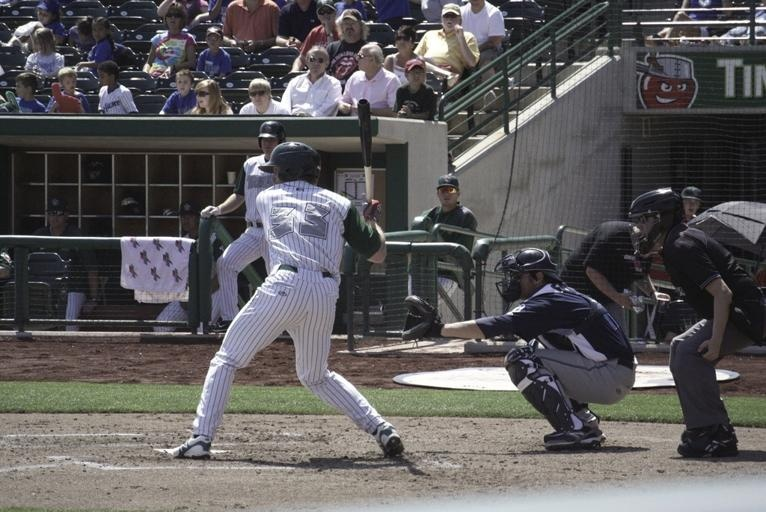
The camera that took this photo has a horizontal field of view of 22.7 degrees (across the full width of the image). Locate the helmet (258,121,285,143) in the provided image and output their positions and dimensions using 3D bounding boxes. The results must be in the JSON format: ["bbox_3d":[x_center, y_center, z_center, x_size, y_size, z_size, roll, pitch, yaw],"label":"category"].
[{"bbox_3d":[-1.495,-1.733,25.886,0.401,0.248,0.228,0,0,-42],"label":"helmet"}]

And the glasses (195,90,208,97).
[{"bbox_3d":[-2.780,-2.564,29.512,0.173,0.072,0.089,-1,0,18],"label":"glasses"}]

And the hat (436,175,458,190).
[{"bbox_3d":[0.957,-1.134,28.187,0.284,0.194,0.205,-1,0,-4],"label":"hat"}]

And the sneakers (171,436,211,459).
[{"bbox_3d":[-2.225,2.254,22.574,0.575,0.258,0.199,0,-15,7],"label":"sneakers"}]

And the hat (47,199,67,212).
[{"bbox_3d":[-4.985,-0.817,29.356,0.190,0.121,0.245,1,-8,-6],"label":"hat"}]

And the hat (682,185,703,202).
[{"bbox_3d":[4.514,-0.972,28.105,0.249,0.156,0.324,9,-6,-3],"label":"hat"}]

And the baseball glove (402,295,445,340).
[{"bbox_3d":[0.439,0.692,23.308,0.351,0.263,0.784,3,36,-25],"label":"baseball glove"}]

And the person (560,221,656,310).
[{"bbox_3d":[3.050,0.049,25.660,1.192,1.234,1.348,-2,5,-42],"label":"person"}]
